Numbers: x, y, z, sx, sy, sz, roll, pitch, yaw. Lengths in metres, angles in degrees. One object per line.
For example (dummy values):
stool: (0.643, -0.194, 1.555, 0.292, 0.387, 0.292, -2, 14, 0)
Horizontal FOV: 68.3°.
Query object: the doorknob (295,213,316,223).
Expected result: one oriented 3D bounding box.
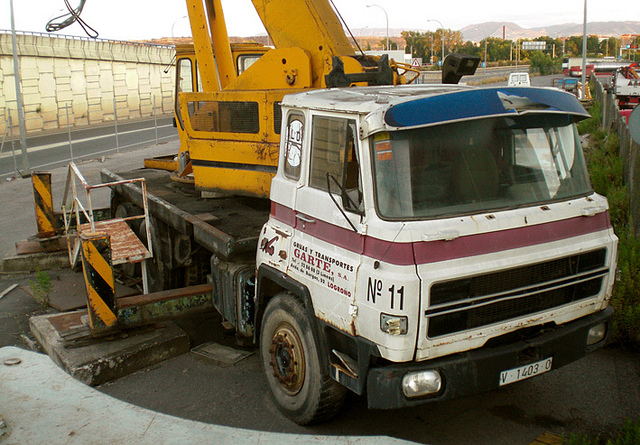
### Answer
doorknob: (-0.159, -0.042, 4.901, 0.094, 0.058, 0.154, 4, 12, -36)
